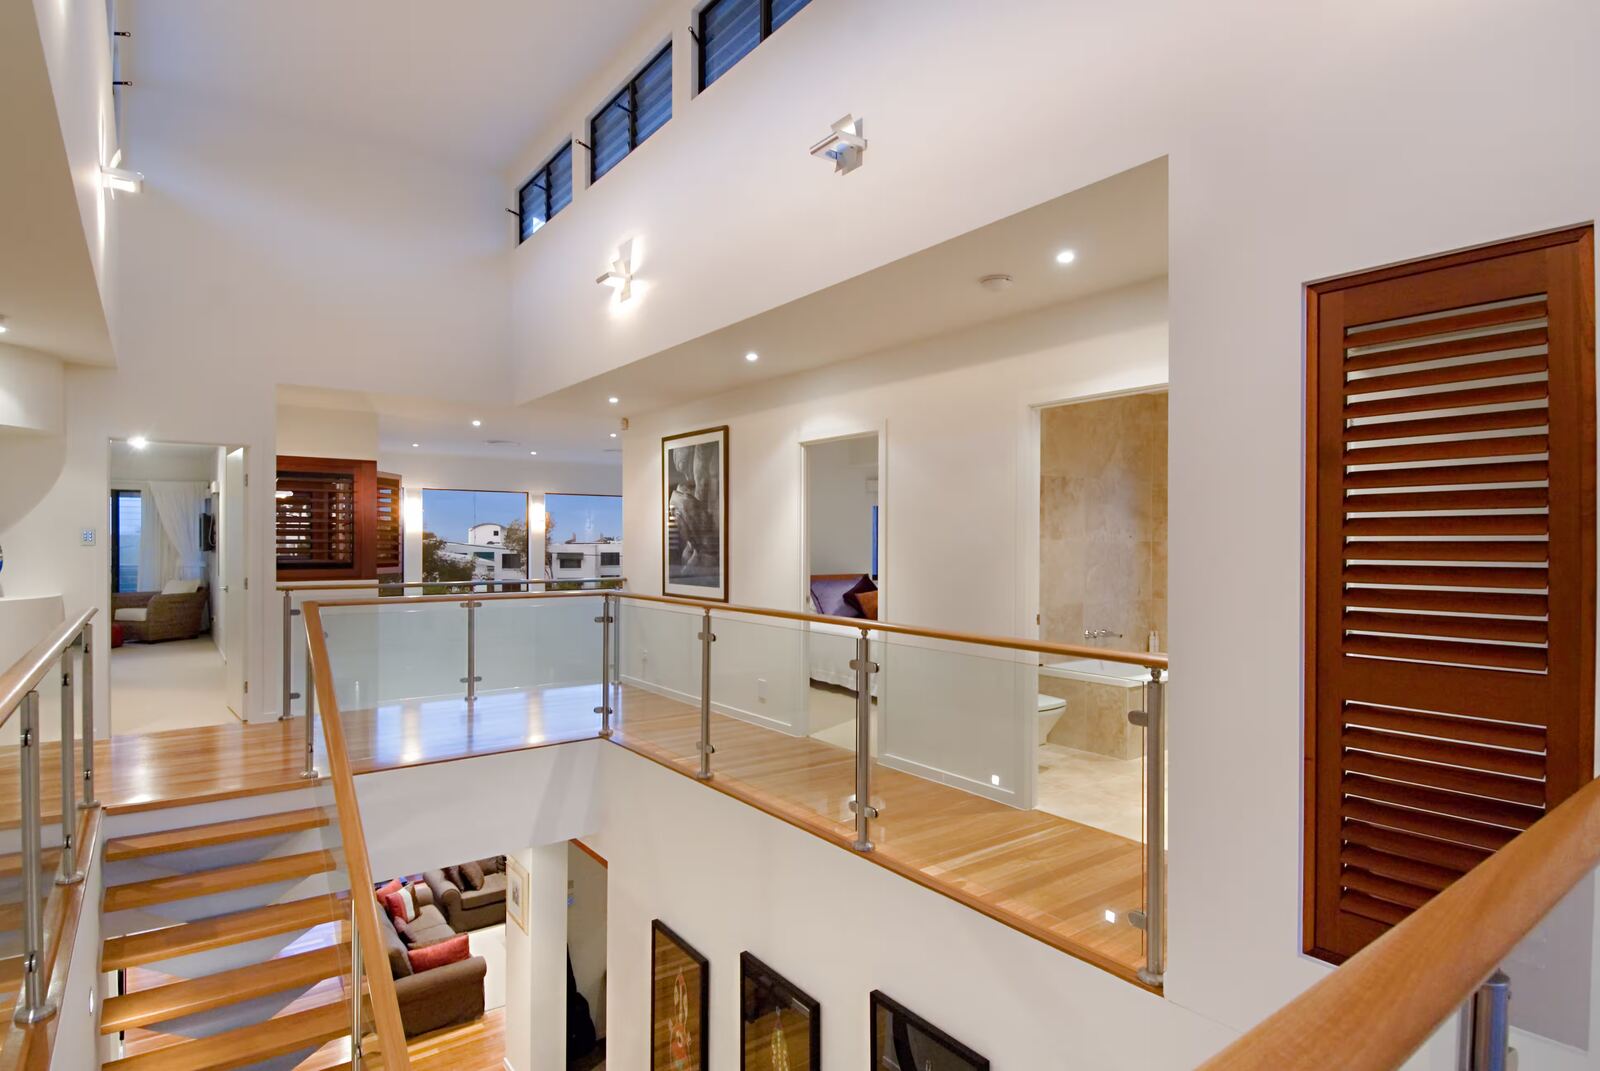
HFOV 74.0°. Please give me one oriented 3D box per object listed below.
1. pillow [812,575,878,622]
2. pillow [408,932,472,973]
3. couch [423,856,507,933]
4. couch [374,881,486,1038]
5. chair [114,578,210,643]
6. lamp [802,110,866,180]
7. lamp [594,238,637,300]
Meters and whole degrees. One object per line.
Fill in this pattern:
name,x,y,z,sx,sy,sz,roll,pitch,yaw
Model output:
pillow,0.394,0.534,9.517,0.416,0.123,0.461,7,13,-25
pillow,-3.478,4.096,10.276,0.588,0.210,0.412,-14,42,-10
couch,-3.889,4.102,11.846,0.638,0.752,1.152,-29,-40,28
couch,-3.955,4.279,10.970,0.823,0.849,2.362,-7,3,-32
chair,-7.805,0.937,12.978,0.796,0.699,0.772,-2,-6,29
lamp,0.159,-2.237,6.023,0.275,0.265,0.410,-1,0,-36
lamp,-1.397,-2.055,8.093,0.260,0.471,0.471,7,-16,-30
